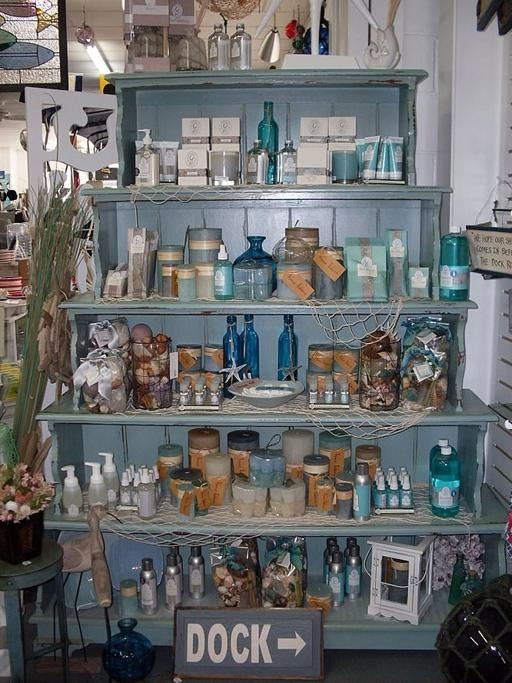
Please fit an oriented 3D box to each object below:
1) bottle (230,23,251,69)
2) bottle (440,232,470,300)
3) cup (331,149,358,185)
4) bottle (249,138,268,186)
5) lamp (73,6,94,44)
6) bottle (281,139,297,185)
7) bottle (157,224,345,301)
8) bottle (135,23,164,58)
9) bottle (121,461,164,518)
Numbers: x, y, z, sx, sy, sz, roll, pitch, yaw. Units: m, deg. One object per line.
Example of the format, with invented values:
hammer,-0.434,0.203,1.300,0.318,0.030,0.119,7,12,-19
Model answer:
bottle,-0.053,-1.008,1.949,0.073,0.176,0.155,-4,11,0
bottle,0.670,-0.254,1.914,0.096,0.218,0.177,1,12,22
cup,0.299,-0.582,1.888,0.103,0.120,0.104,1,3,0
bottle,0.008,-0.593,1.914,0.077,0.117,0.053,-4,11,-2
lamp,-2.201,-4.022,7.278,0.215,0.385,0.571,-7,12,-14
bottle,0.107,-0.595,1.918,0.065,0.118,0.048,-3,11,5
bottle,0.062,-0.265,2.050,0.457,0.324,0.271,2,7,1
bottle,-0.366,-1.021,1.940,0.103,0.096,0.026,-5,11,-3
bottle,-0.396,0.471,2.051,0.145,0.246,0.254,1,3,-7
